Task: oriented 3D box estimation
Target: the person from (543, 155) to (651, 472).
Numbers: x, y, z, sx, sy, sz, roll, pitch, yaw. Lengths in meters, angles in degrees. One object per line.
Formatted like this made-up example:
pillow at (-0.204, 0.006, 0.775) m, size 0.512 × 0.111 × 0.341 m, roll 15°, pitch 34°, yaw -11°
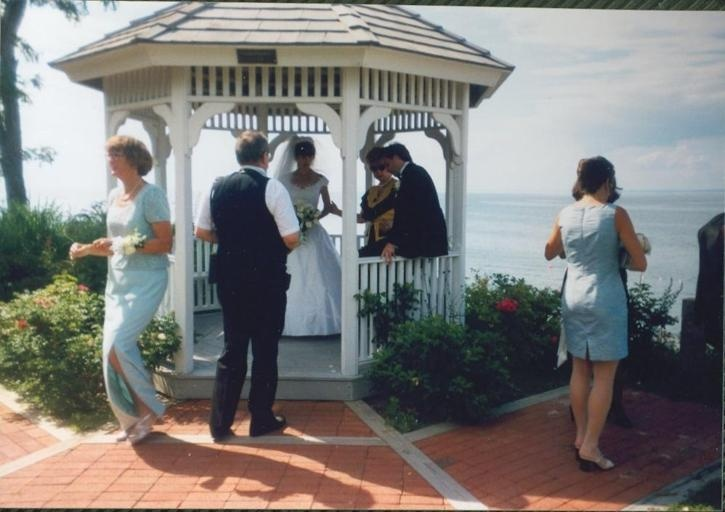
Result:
person at (2.442, 0.620, 7.962) m, size 0.932 × 3.318 × 0.393 m, roll 3°, pitch 4°, yaw 22°

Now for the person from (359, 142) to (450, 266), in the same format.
person at (0.614, -0.710, 10.144) m, size 0.861 × 1.565 × 1.029 m, roll -5°, pitch -3°, yaw -16°

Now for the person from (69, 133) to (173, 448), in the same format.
person at (-2.574, 0.370, 8.387) m, size 0.833 × 3.375 × 0.571 m, roll 2°, pitch 4°, yaw 14°

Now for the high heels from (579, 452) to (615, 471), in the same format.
high heels at (2.478, 2.203, 8.038) m, size 0.376 × 0.150 × 0.166 m, roll -2°, pitch 32°, yaw 2°
